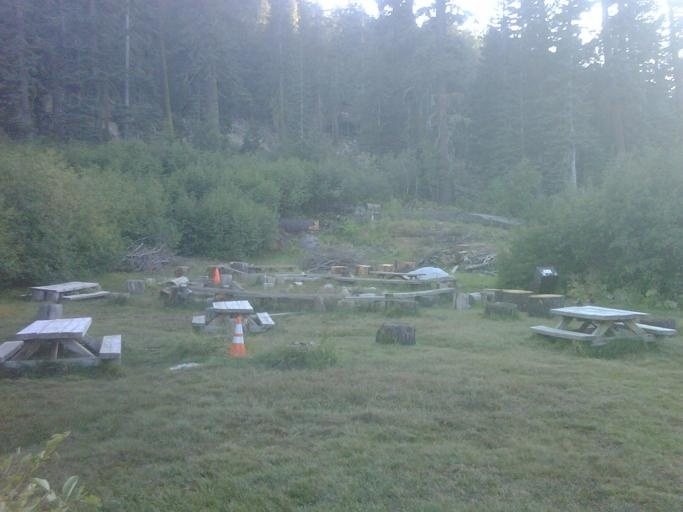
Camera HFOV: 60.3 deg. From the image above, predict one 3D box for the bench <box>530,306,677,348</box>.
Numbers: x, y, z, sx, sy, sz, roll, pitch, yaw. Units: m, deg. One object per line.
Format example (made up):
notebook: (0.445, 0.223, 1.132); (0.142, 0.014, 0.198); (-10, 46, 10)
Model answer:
bench: (7.313, 1.916, 17.032); (3.490, 0.910, 2.134); (0, 4, -11)

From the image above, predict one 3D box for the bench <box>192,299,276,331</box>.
bench: (-3.422, 1.841, 18.683); (2.461, 0.750, 2.087); (1, 4, -10)

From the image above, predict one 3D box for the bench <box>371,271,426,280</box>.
bench: (2.736, 0.915, 29.322); (1.096, 0.362, 3.658); (0, 4, -22)
